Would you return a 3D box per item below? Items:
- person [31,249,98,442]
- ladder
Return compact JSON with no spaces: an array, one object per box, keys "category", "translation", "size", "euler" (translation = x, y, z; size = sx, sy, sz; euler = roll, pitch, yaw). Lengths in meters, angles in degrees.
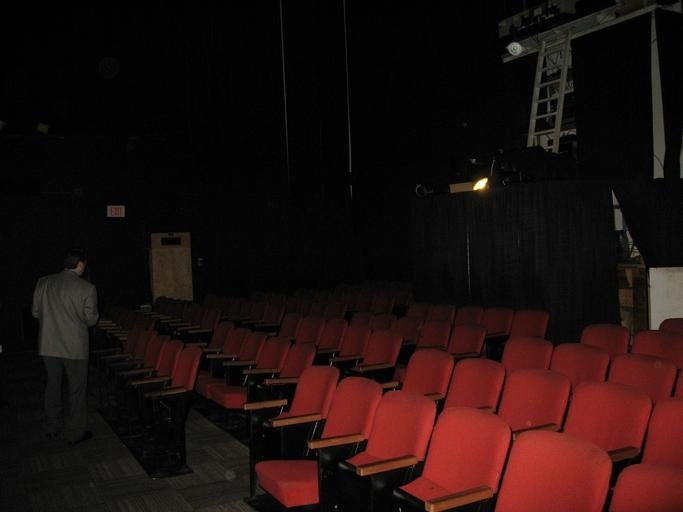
[{"category":"person","translation":[-2.712,0.895,5.346],"size":[0.580,1.818,0.335],"euler":[1,1,18]},{"category":"ladder","translation":[3.370,-2.506,8.840],"size":[0.649,2.005,1.889],"euler":[1,1,22]}]
